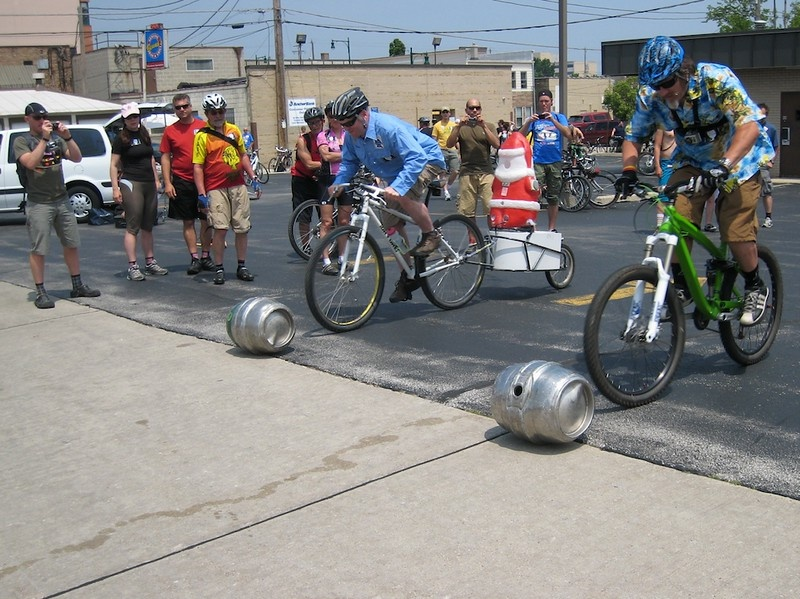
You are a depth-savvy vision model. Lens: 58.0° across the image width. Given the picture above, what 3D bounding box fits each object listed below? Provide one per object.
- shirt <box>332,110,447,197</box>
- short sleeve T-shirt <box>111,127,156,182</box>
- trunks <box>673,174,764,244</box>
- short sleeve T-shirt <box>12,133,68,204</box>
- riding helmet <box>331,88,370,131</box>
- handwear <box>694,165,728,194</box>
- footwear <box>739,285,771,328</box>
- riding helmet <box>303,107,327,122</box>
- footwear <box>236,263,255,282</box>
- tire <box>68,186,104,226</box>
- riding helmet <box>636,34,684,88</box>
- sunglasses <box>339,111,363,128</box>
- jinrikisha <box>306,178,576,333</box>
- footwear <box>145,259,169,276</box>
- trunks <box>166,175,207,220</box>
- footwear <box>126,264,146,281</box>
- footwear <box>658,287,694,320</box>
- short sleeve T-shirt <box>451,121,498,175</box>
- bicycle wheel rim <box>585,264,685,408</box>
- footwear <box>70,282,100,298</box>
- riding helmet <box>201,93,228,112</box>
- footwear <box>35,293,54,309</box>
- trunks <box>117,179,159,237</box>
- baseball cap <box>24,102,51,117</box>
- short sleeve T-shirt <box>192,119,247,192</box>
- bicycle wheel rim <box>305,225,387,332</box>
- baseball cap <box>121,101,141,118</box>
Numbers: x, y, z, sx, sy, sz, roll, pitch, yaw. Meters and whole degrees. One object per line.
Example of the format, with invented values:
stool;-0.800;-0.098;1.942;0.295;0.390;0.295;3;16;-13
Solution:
shirt;0.096;-1.523;7.343;1.004;0.705;1.211;-20;6;-29
short sleeve T-shirt;-3.547;-1.919;9.593;0.490;0.721;0.455;-7;16;-18
trunks;2.377;-0.624;5.189;0.833;0.493;0.401;-19;12;-36
short sleeve T-shirt;-4.105;-1.512;8.309;0.549;0.771;0.443;-10;17;-26
riding helmet;-0.474;-1.833;6.882;0.351;0.368;0.392;-3;14;-3
handwear;2.047;-0.794;4.690;0.148;0.153;0.175;-6;15;-16
footwear;2.657;0.046;5.379;0.134;0.151;0.392;-9;30;48
riding helmet;-1.231;-2.680;10.479;0.247;0.142;0.329;-5;20;5
footwear;-2.045;-0.357;9.572;0.144;0.136;0.350;-14;11;-29
tire;-7.536;-2.209;16.974;0.853;0.742;0.311;4;1;-13
riding helmet;1.769;-1.602;4.867;0.308;0.308;0.430;2;5;44
sunglasses;-0.465;-1.714;6.888;0.178;0.054;0.131;-30;14;-22
jinrikisha;0.456;-0.581;7.791;3.704;1.334;0.933;-11;11;-35
footwear;-3.413;-0.467;10.171;0.472;0.258;0.153;2;10;1
trunks;-2.810;-1.374;9.533;0.320;0.580;0.501;13;20;40
footwear;-3.619;-0.366;9.778;0.362;0.155;0.147;4;12;45
footwear;1.917;0.041;4.987;0.264;0.086;0.243;-15;51;26
short sleeve T-shirt;1.082;-2.160;10.100;0.604;0.719;0.385;-5;26;2
bicycle wheel rim;1.554;0.247;4.759;0.880;0.988;0.244;-13;19;-36
footwear;-3.834;-0.103;8.837;0.393;0.136;0.149;0;5;-13
riding helmet;-2.393;-2.453;9.036;0.339;0.156;0.450;-15;37;-32
footwear;-4.104;0.005;8.320;0.205;0.142;0.316;-9;15;-26
trunks;-3.462;-1.241;9.652;0.461;0.727;0.328;-10;17;-25
baseball cap;-4.156;-2.129;8.140;0.282;0.147;0.195;6;15;19
short sleeve T-shirt;-2.277;-1.857;9.239;0.736;0.778;0.451;-16;31;-28
bicycle wheel rim;-0.518;-0.212;6.994;0.310;1.024;0.894;8;17;33
baseball cap;-3.596;-2.510;9.618;0.293;0.134;0.430;-20;21;-19
